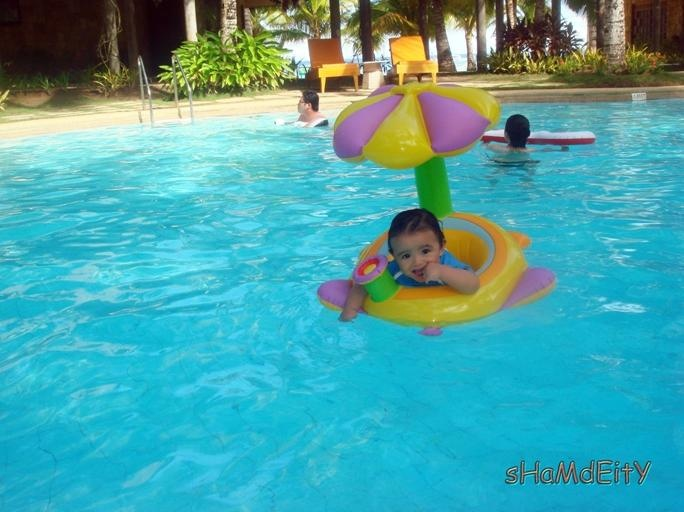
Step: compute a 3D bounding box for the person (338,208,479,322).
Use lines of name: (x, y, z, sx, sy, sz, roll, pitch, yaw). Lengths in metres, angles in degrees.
person: (0.378, 0.055, 2.743, 0.705, 0.670, 0.381, 5, 18, 32)

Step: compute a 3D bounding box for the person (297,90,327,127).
person: (-0.577, -3.028, 10.021, 0.771, 0.688, 1.006, 2, 30, -11)

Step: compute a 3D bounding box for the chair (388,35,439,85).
chair: (2.336, -6.627, 16.297, 1.376, 1.526, 1.148, -4, 15, 3)
